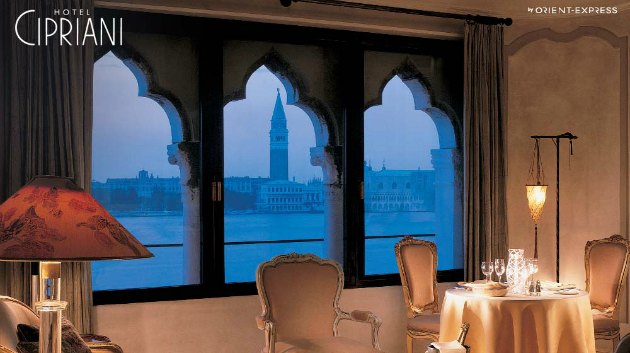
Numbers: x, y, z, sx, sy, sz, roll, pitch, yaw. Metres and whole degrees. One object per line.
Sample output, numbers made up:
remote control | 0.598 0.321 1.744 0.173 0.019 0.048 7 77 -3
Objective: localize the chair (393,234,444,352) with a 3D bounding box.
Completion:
chair | 1.249 1.374 9.765 0.486 1.342 0.648 -5 -3 16

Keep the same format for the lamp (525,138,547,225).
lamp | 2.745 0.064 10.206 0.274 0.697 0.421 -5 -4 15
